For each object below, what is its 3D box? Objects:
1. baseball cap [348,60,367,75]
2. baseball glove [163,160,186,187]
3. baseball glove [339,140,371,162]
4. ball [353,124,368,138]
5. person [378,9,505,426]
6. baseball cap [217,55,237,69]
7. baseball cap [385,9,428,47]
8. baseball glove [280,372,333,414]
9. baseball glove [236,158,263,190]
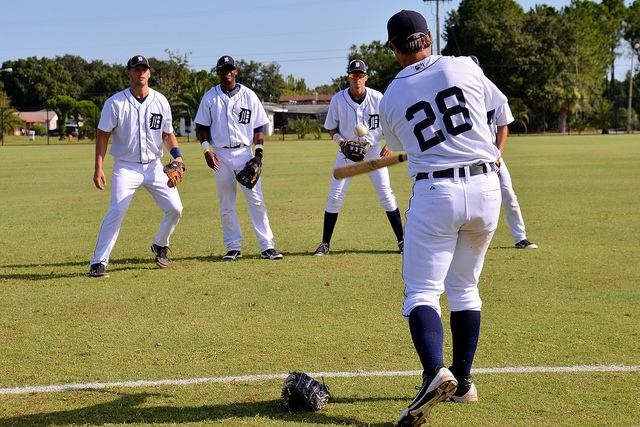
[{"bbox_3d":[0.574,-2.262,12.234,0.271,0.215,0.397,1,7,4],"label":"baseball cap"},{"bbox_3d":[-2.237,-0.618,11.740,0.183,0.410,0.307,-1,-16,41],"label":"baseball glove"},{"bbox_3d":[0.491,-0.861,10.907,0.332,0.250,0.140,18,-13,44],"label":"baseball glove"},{"bbox_3d":[0.567,-1.148,10.997,0.138,0.166,0.283,2,8,8],"label":"ball"},{"bbox_3d":[1.241,-0.005,8.083,1.202,4.082,1.009,1,7,5],"label":"person"},{"bbox_3d":[-1.389,-2.253,11.878,0.276,0.172,0.309,-1,8,-10],"label":"baseball cap"},{"bbox_3d":[0.907,-1.910,8.121,0.401,0.323,0.260,1,7,5],"label":"baseball cap"},{"bbox_3d":[-0.169,1.856,8.383,0.421,0.382,0.544,24,-24,-23],"label":"baseball glove"},{"bbox_3d":[-1.061,-0.596,11.985,0.326,0.458,0.164,34,2,-7],"label":"baseball glove"}]
